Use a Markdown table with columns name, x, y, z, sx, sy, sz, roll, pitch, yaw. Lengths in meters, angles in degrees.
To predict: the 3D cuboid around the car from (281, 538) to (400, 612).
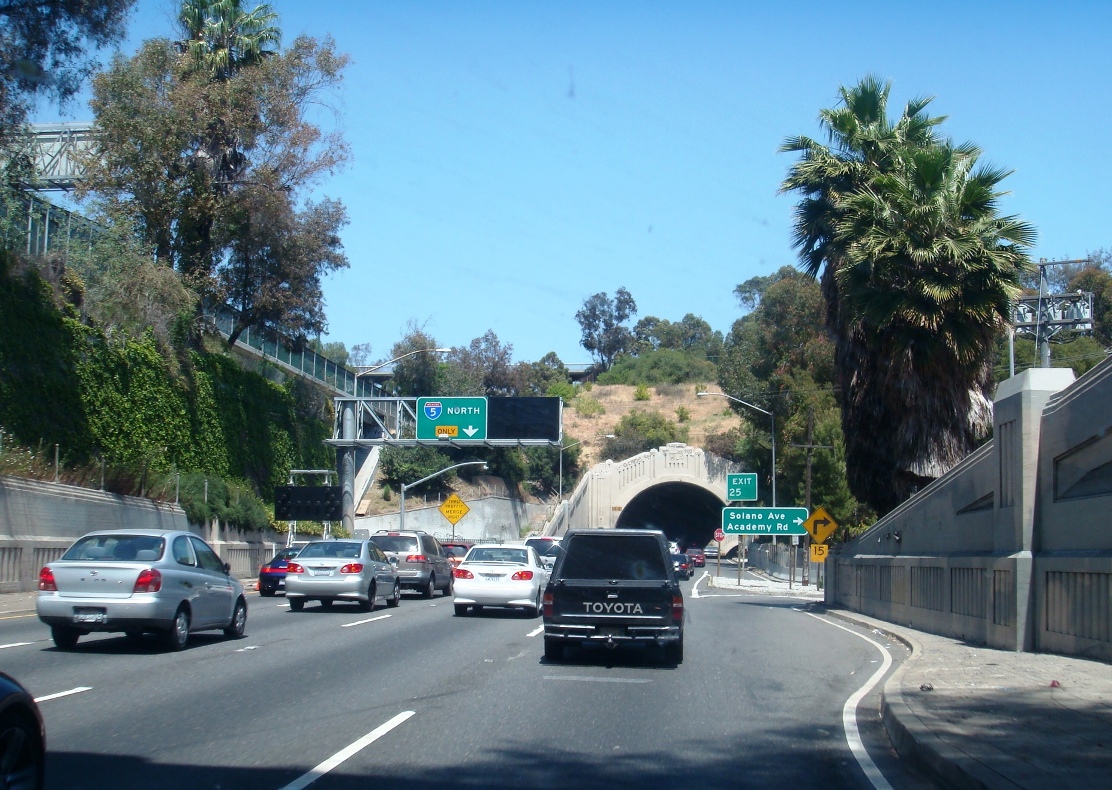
| name | x | y | z | sx | sy | sz | roll | pitch | yaw |
| --- | --- | --- | --- | --- | --- | --- | --- | --- | --- |
| car | -5.999 | 4.991 | 37.655 | 2.930 | 2.001 | 2.033 | 5 | -10 | -18 |

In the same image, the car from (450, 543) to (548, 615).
| name | x | y | z | sx | sy | sz | roll | pitch | yaw |
| --- | --- | --- | --- | --- | --- | --- | --- | --- | --- |
| car | -1.636 | 5.063 | 37.367 | 2.446 | 2.130 | 2.381 | 2 | -10 | -4 |

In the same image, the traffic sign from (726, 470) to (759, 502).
| name | x | y | z | sx | sy | sz | roll | pitch | yaw |
| --- | --- | --- | --- | --- | --- | --- | --- | --- | --- |
| traffic sign | 10.100 | 4.940 | 73.740 | 1.760 | 2.031 | 0.290 | -2 | 6 | -1 |

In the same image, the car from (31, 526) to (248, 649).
| name | x | y | z | sx | sy | sz | roll | pitch | yaw |
| --- | --- | --- | --- | --- | --- | --- | --- | --- | --- |
| car | -8.677 | 4.009 | 28.277 | 4.075 | 2.478 | 1.977 | 7 | -11 | -30 |

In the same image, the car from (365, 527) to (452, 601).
| name | x | y | z | sx | sy | sz | roll | pitch | yaw |
| --- | --- | --- | --- | --- | --- | --- | --- | --- | --- |
| car | -4.433 | 5.394 | 43.714 | 1.417 | 1.960 | 4.461 | 0 | -3 | 3 |

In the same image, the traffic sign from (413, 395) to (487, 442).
| name | x | y | z | sx | sy | sz | roll | pitch | yaw |
| --- | --- | --- | --- | --- | --- | --- | --- | --- | --- |
| traffic sign | -4.791 | 1.065 | 61.463 | 1.508 | 1.239 | 0.069 | 0 | 2 | 13 |
